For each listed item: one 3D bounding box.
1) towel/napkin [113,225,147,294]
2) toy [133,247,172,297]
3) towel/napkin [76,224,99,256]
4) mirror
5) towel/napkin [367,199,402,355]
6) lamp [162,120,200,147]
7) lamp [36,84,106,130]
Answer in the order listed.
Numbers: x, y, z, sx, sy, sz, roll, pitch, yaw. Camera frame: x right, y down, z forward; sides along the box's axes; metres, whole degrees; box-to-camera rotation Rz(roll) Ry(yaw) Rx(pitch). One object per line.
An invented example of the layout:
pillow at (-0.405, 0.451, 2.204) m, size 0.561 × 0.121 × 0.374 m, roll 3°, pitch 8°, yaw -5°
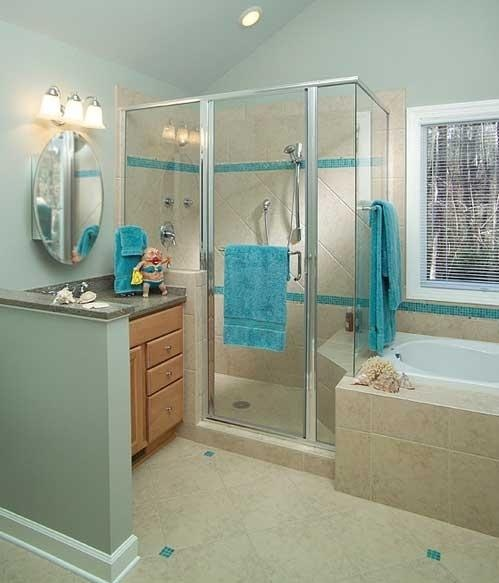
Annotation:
towel/napkin at (-0.696, -0.185, 2.868) m, size 0.191 × 0.381 × 0.096 m, roll -4°, pitch 10°, yaw -18°
toy at (-0.577, -0.112, 2.883) m, size 0.265 × 0.339 × 0.182 m, roll 1°, pitch -9°, yaw -41°
towel/napkin at (-0.933, -0.296, 2.840) m, size 0.118 × 0.160 × 0.048 m, roll 9°, pitch -5°, yaw 43°
mirror at (-1.000, -0.516, 2.704) m, size 0.072 × 0.709 × 0.510 m, roll 3°, pitch 10°, yaw 21°
towel/napkin at (0.804, -0.071, 2.893) m, size 0.128 × 0.906 × 0.448 m, roll 4°, pitch 10°, yaw 26°
lamp at (-0.388, -0.916, 2.835) m, size 0.151 × 0.099 × 0.052 m, roll 15°, pitch 33°, yaw 20°
lamp at (-0.941, -0.988, 2.656) m, size 0.129 × 0.197 × 0.525 m, roll 3°, pitch 10°, yaw 22°
